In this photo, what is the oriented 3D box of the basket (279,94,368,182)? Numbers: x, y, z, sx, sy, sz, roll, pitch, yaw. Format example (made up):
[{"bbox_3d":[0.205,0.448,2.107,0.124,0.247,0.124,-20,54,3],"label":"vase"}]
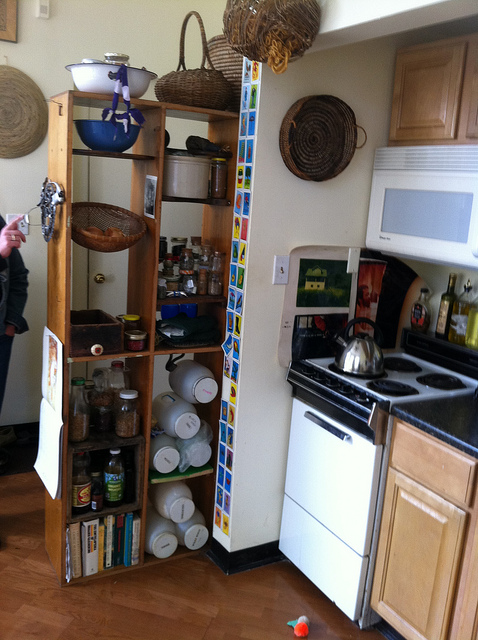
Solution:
[{"bbox_3d":[0.299,-0.667,1.922,0.337,0.302,0.079,-2,11,-35],"label":"basket"}]

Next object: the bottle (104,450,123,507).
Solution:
[{"bbox_3d":[-0.486,0.623,2.019,0.067,0.212,0.042,2,9,-13],"label":"bottle"}]

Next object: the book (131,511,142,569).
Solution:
[{"bbox_3d":[-0.411,0.872,2.091,0.033,0.285,0.209,2,8,-13],"label":"book"}]

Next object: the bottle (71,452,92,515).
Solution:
[{"bbox_3d":[-0.593,0.615,1.967,0.077,0.234,0.064,0,10,-25],"label":"bottle"}]

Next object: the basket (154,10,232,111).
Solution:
[{"bbox_3d":[-0.202,-0.972,2.042,0.274,0.456,0.336,-4,-1,-16],"label":"basket"}]

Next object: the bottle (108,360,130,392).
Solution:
[{"bbox_3d":[-0.470,0.217,2.043,0.048,0.132,0.103,9,10,26],"label":"bottle"}]

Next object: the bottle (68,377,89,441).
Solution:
[{"bbox_3d":[-0.595,0.321,1.937,0.074,0.244,0.101,2,9,-14],"label":"bottle"}]

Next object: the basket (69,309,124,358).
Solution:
[{"bbox_3d":[-0.523,0.079,1.907,0.169,0.099,0.233,-1,13,-28],"label":"basket"}]

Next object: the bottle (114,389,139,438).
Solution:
[{"bbox_3d":[-0.427,0.366,2.026,0.100,0.170,0.100,2,7,0],"label":"bottle"}]

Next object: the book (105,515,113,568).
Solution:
[{"bbox_3d":[-0.506,0.869,2.043,0.028,0.236,0.031,2,9,-17],"label":"book"}]

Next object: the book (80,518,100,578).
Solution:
[{"bbox_3d":[-0.571,0.874,2.000,0.088,0.243,0.025,-1,10,-32],"label":"book"}]

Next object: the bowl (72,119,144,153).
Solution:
[{"bbox_3d":[-0.441,-0.614,1.747,0.220,0.105,0.161,3,9,-7],"label":"bowl"}]

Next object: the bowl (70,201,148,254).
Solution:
[{"bbox_3d":[-0.452,-0.326,1.844,0.270,0.173,0.314,2,9,-16],"label":"bowl"}]

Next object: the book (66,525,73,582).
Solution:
[{"bbox_3d":[-0.642,0.878,1.959,0.015,0.234,0.043,7,9,15],"label":"book"}]

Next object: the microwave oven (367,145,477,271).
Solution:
[{"bbox_3d":[0.678,-0.423,1.882,0.233,0.389,0.460,-5,15,-21],"label":"microwave oven"}]

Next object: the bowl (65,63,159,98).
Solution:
[{"bbox_3d":[-0.409,-0.765,1.684,0.288,0.115,0.178,2,9,-14],"label":"bowl"}]

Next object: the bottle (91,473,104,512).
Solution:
[{"bbox_3d":[-0.543,0.657,1.988,0.040,0.148,0.035,1,9,-21],"label":"bottle"}]
